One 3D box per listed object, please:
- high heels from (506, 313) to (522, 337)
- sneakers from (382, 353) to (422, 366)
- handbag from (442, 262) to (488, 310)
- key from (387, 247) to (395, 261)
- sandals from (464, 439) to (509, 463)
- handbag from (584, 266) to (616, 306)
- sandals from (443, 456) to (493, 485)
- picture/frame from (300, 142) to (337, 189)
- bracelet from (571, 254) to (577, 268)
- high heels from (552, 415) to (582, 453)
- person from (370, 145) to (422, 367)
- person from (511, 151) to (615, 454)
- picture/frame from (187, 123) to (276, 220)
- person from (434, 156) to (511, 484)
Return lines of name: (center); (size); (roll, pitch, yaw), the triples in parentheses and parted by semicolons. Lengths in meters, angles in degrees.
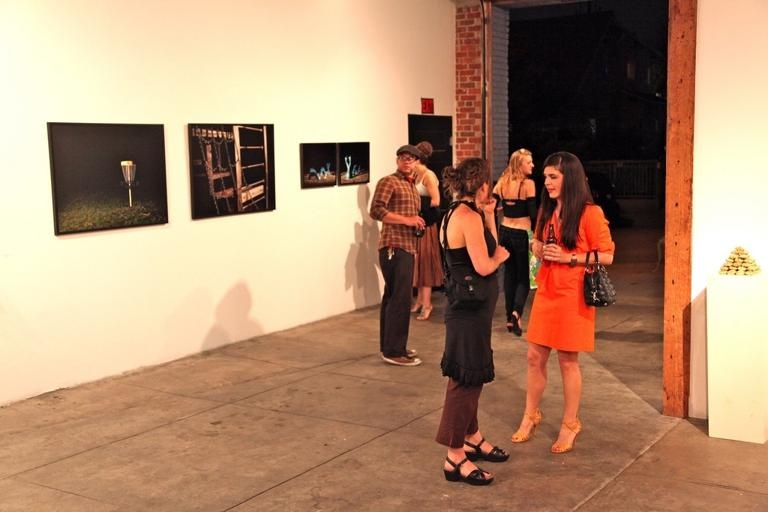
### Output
high heels: (1.674, 0.877, 7.100); (0.130, 0.350, 0.141); (-29, 18, -35)
sneakers: (0.207, 1.136, 6.256); (0.406, 0.145, 0.149); (0, 5, 4)
handbag: (0.565, 0.211, 3.857); (0.295, 0.293, 0.150); (2, 10, 16)
key: (0.080, -0.027, 6.244); (0.089, 0.126, 0.038); (0, 10, 8)
sandals: (0.768, 1.473, 4.254); (0.371, 0.155, 0.135); (-1, 5, 7)
handbag: (1.636, 0.221, 4.174); (0.271, 0.320, 0.174); (-7, 11, -33)
sandals: (0.596, 1.512, 3.966); (0.319, 0.140, 0.160); (-1, 3, 16)
picture/frame: (-0.893, -1.301, 7.983); (0.691, 0.649, 0.068); (2, 2, 38)
bracelet: (1.430, 0.044, 4.194); (0.054, 0.080, 0.076); (0, 14, 5)
high heels: (1.452, 1.375, 4.398); (0.135, 0.197, 0.397); (-4, 11, 41)
person: (0.164, -0.035, 6.369); (0.572, 2.423, 0.825); (-1, 9, -1)
person: (1.398, 0.344, 4.350); (0.677, 2.285, 0.563); (3, 10, 21)
picture/frame: (-1.812, -1.089, 6.969); (0.063, 1.148, 1.386); (7, 14, 31)
person: (0.652, 0.443, 3.985); (0.510, 2.247, 0.606); (1, 10, 12)
